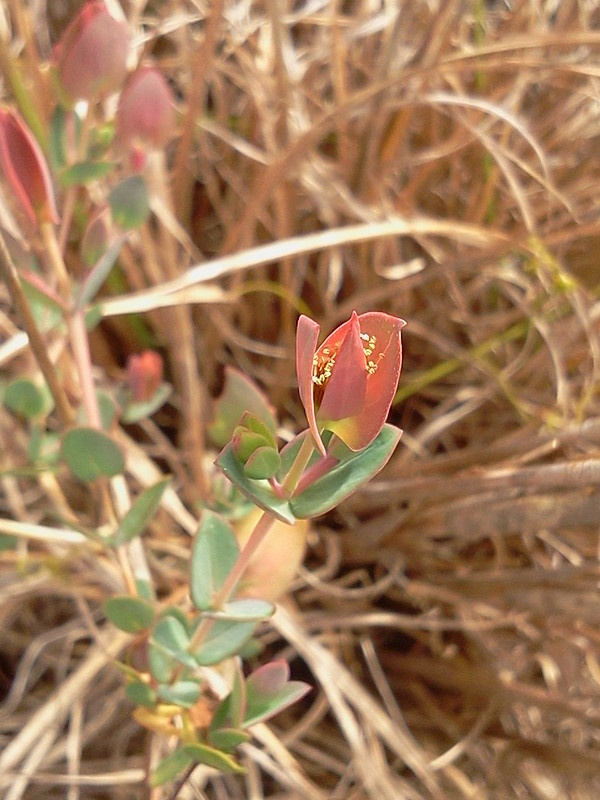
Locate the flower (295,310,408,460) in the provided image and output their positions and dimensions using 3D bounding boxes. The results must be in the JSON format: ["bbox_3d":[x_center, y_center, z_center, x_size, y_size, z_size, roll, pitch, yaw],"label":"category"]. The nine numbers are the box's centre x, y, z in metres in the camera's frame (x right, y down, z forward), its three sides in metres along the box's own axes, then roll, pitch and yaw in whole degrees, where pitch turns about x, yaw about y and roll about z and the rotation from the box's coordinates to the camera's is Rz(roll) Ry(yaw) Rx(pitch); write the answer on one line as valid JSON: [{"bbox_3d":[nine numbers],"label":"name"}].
[{"bbox_3d":[0.009,-0.004,0.303,0.048,0.047,0.054,14,-56,13],"label":"flower"}]
